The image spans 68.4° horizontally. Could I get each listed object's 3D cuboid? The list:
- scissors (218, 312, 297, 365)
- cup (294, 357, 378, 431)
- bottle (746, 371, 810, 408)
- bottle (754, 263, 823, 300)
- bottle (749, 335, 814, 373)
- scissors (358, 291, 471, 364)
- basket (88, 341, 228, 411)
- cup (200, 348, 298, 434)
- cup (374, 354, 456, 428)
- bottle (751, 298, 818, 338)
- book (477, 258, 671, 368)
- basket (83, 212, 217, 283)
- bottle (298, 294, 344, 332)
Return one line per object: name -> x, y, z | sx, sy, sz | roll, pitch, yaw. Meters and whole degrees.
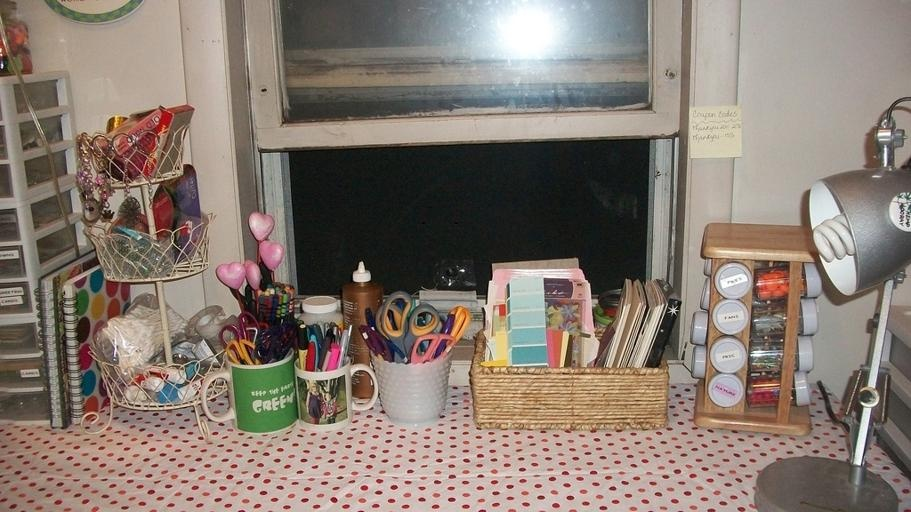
scissors -> -0.554, 0.224, 1.864 | 0.168, 0.068, 0.164 | 8, 4, 8
cup -> -0.330, 0.390, 1.903 | 0.243, 0.171, 0.156 | -1, 10, -1
bottle -> 0.879, 0.371, 1.836 | 0.139, 0.101, 0.057 | -1, 27, 12
bottle -> 0.875, 0.062, 1.804 | 0.086, 0.038, 0.112 | 11, -16, -13
bottle -> 0.881, 0.268, 1.815 | 0.146, 0.055, 0.100 | -1, 4, 5
scissors -> -0.111, 0.195, 1.862 | 0.294, 0.189, 0.109 | 1, 11, 2
basket -> -0.832, 0.363, 1.869 | 0.246, 0.088, 0.267 | 2, 6, 6
cup -> -0.582, 0.389, 1.888 | 0.280, 0.197, 0.171 | -6, 9, -16
cup -> -0.104, 0.421, 1.903 | 0.155, 0.114, 0.143 | -7, -14, -2
bottle -> 0.860, 0.168, 1.755 | 0.146, 0.101, 0.053 | 1, 3, 11
book -> 0.321, 0.146, 1.782 | 0.403, 0.291, 0.132 | 0, -26, 0
basket -> -0.865, -0.012, 1.932 | 0.333, 0.136, 0.333 | -17, -7, 16
bottle -> -0.392, 0.167, 1.960 | 0.098, 0.089, 0.097 | 5, 8, 30
